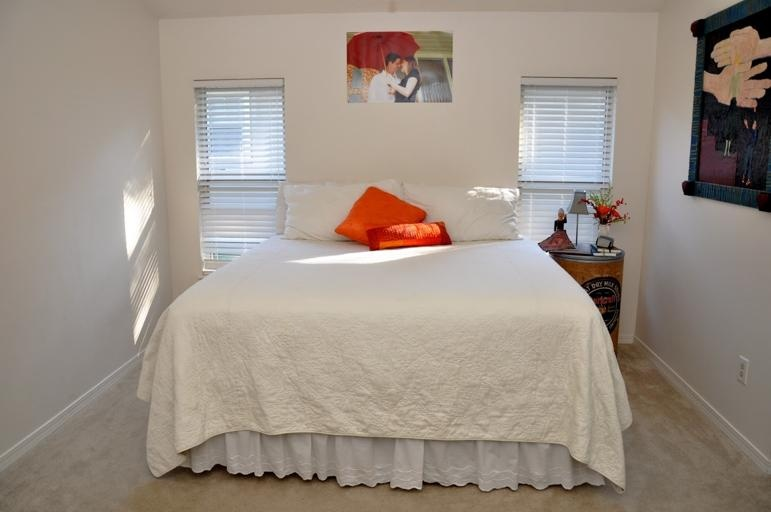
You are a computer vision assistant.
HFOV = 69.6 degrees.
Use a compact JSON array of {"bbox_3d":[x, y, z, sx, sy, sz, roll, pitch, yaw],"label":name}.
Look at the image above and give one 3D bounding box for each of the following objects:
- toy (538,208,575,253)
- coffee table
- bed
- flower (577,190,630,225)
[{"bbox_3d":[1.445,-0.246,4.874,0.333,0.462,0.402,-1,7,-5],"label":"toy"},{"bbox_3d":[1.791,0.325,5.193,0.703,1.264,0.767,0,8,18],"label":"coffee table"},{"bbox_3d":[-0.020,0.731,3.684,1.791,0.804,1.880,0,4,2],"label":"bed"},{"bbox_3d":[1.927,-0.350,4.918,0.372,0.278,0.392,2,14,15],"label":"flower"}]
